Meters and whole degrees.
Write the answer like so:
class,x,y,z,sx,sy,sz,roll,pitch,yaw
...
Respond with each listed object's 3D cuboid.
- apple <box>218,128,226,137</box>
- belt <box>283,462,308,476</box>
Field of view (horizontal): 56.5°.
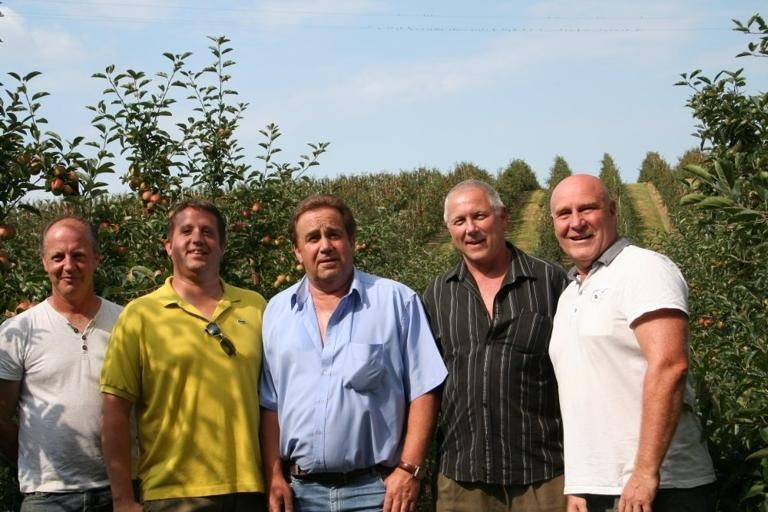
class,x,y,z,sx,sy,sz,roll,pitch,yaw
apple,-1.526,-1.159,6.726,0.074,0.085,0.078,-3,-4,30
belt,-0.556,1.324,4.439,0.120,0.045,0.088,29,-8,-28
